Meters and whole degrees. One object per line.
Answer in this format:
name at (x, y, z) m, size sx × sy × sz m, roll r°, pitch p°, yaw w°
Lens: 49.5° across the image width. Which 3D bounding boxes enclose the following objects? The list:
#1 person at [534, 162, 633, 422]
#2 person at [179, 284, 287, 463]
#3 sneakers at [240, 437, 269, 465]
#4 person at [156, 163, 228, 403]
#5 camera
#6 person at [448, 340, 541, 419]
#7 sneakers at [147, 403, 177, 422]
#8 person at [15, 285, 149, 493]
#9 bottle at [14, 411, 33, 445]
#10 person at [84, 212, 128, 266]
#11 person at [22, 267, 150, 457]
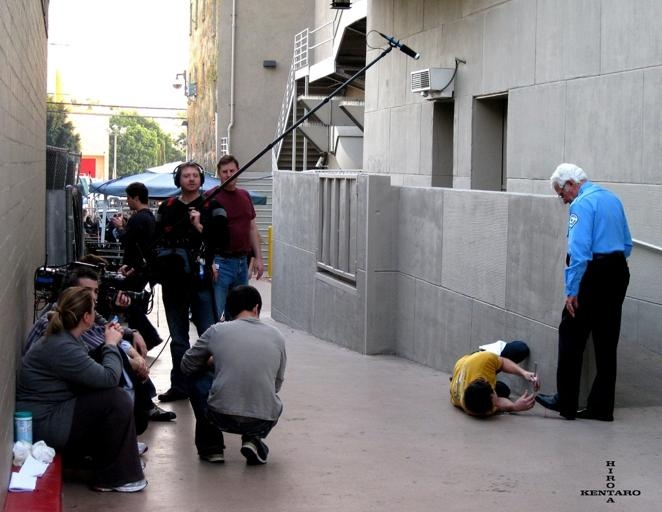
person at (2.280, 0.421, 6.390) m, size 0.711 × 2.109 × 0.473 m, roll 0°, pitch 2°, yaw 24°
person at (-0.740, 0.890, 5.418) m, size 0.746 × 1.327 × 0.385 m, roll 0°, pitch 2°, yaw 24°
sneakers at (-0.575, 1.475, 5.414) m, size 0.112 × 0.155 × 0.298 m, roll 0°, pitch -8°, yaw 7°
person at (-1.419, 0.245, 6.990) m, size 0.672 × 2.322 × 0.659 m, roll -2°, pitch -2°, yaw 26°
camera at (-1.989, 0.314, 6.185) m, size 1.115 × 0.594 × 0.458 m, roll 2°, pitch 3°, yaw -28°
person at (1.600, 1.201, 6.949) m, size 0.851 × 0.465 × 0.881 m, roll 24°, pitch -5°, yaw 35°
sneakers at (-1.524, 1.407, 6.462) m, size 0.306 × 0.146 × 0.109 m, roll 1°, pitch 0°, yaw -3°
person at (-1.931, 1.053, 5.706) m, size 0.986 × 1.604 × 0.635 m, roll -15°, pitch 27°, yaw -42°
bottle at (-2.009, 1.127, 4.699) m, size 0.095 × 0.217 × 0.164 m, roll -1°, pitch 2°, yaw -15°
person at (-4.973, -0.386, 15.937) m, size 0.800 × 1.464 × 1.456 m, roll 1°, pitch -2°, yaw -15°
person at (-1.715, 0.923, 5.098) m, size 0.692 × 1.292 × 0.821 m, roll 0°, pitch 0°, yaw 40°
